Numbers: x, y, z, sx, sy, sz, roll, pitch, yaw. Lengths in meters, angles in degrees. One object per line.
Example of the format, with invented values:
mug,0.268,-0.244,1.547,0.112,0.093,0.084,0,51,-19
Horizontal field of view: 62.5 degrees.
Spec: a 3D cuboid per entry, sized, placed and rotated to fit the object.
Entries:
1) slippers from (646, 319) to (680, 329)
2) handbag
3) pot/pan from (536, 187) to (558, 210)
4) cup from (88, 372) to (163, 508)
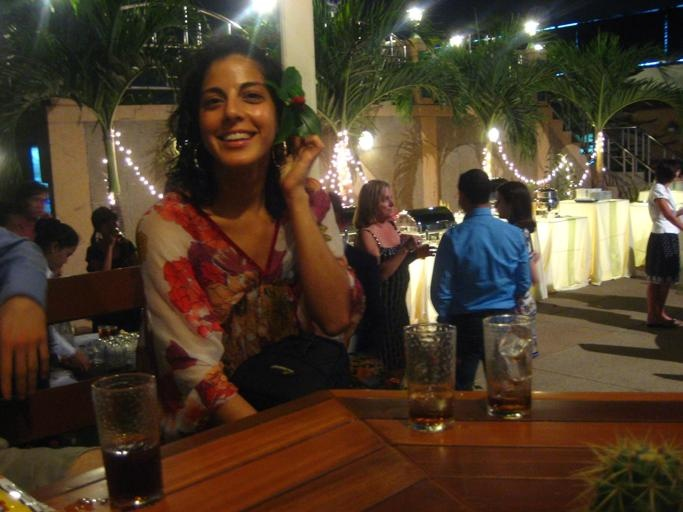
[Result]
slippers,3.247,0.686,5.623,0.310,0.115,0.112,-3,-1,11
handbag,-0.126,0.316,1.612,0.271,0.102,0.194,-15,42,-41
pot/pan,2.723,-0.762,7.406,0.287,0.258,0.284,-1,7,19
cup,-0.420,0.354,1.113,0.115,0.232,0.155,-6,10,-24
